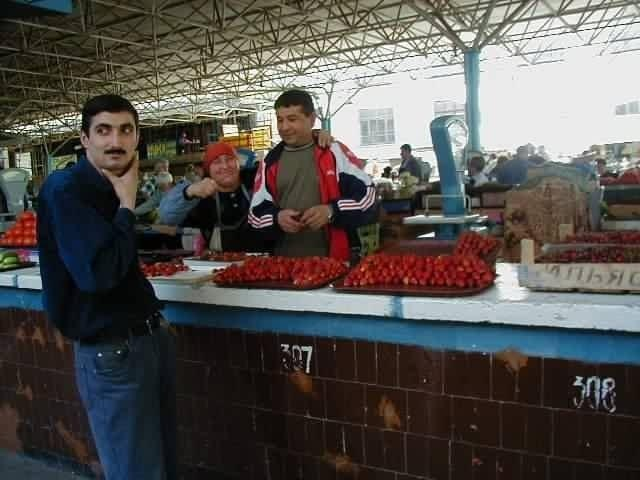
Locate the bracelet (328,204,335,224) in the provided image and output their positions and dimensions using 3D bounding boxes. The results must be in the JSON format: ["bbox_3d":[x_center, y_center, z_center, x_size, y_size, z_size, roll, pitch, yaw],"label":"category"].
[{"bbox_3d":[0.065,-0.150,3.034,0.056,0.095,0.081,-2,0,-5],"label":"bracelet"}]

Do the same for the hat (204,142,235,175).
[{"bbox_3d":[-0.710,-0.556,3.556,0.203,0.217,0.339,-11,14,-36],"label":"hat"}]

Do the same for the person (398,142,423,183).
[{"bbox_3d":[1.850,-1.528,10.519,0.485,0.742,2.246,0,12,11],"label":"person"}]
